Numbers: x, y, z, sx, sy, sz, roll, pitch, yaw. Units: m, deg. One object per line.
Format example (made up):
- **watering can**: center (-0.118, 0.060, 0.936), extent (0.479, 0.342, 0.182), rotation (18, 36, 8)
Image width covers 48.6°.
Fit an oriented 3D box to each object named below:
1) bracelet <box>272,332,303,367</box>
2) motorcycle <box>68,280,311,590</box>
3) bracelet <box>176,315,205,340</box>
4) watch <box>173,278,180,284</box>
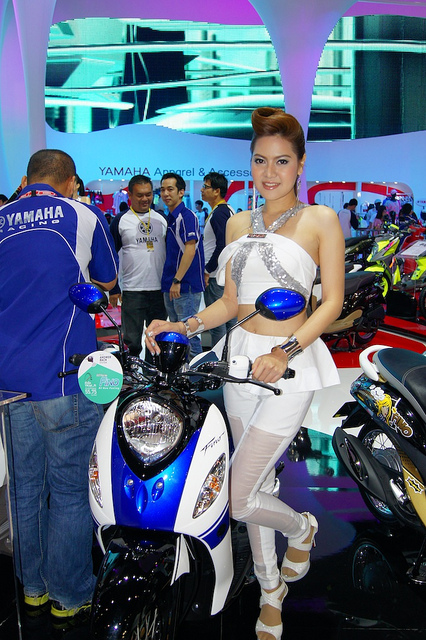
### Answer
- **bracelet**: center (0.223, 0.097, 1.384), extent (0.086, 0.038, 0.085), rotation (-40, 32, 3)
- **motorcycle**: center (-0.085, 0.344, 1.318), extent (0.561, 0.887, 0.526), rotation (-1, 8, -24)
- **bracelet**: center (-0.077, 0.024, 1.608), extent (0.084, 0.065, 0.037), rotation (-7, 21, -13)
- **watch**: center (-0.353, -0.385, 4.548), extent (0.056, 0.044, 0.041), rotation (2, 7, -4)
